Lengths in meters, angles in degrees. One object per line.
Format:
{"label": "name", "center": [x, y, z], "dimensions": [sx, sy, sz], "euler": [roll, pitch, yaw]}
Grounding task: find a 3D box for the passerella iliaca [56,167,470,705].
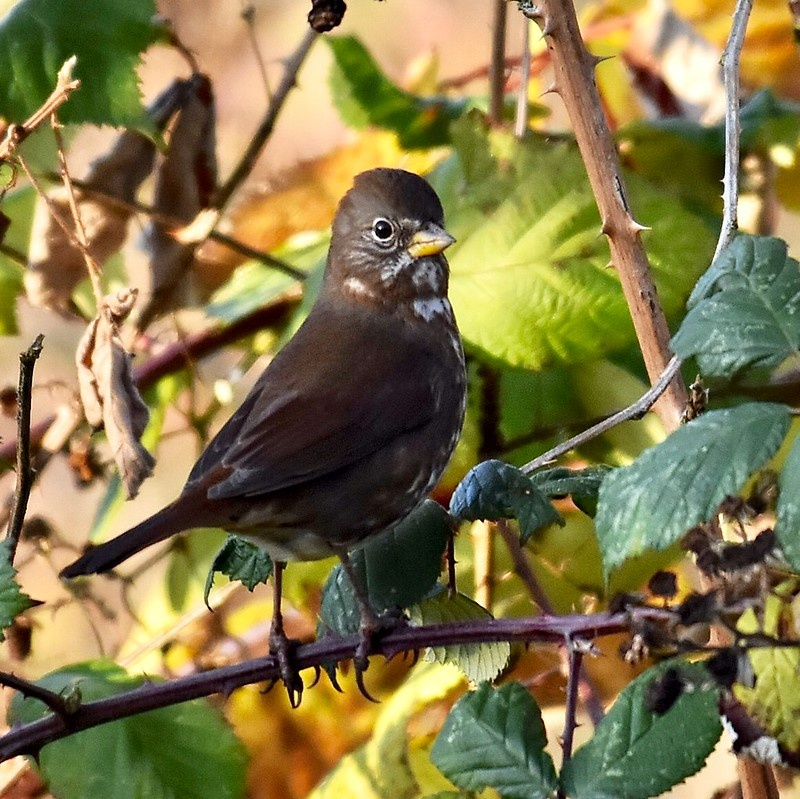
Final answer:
{"label": "passerella iliaca", "center": [-0.149, -0.014, 2.844], "dimensions": [0.751, 0.996, 0.452], "euler": [-25, -55, 13]}
